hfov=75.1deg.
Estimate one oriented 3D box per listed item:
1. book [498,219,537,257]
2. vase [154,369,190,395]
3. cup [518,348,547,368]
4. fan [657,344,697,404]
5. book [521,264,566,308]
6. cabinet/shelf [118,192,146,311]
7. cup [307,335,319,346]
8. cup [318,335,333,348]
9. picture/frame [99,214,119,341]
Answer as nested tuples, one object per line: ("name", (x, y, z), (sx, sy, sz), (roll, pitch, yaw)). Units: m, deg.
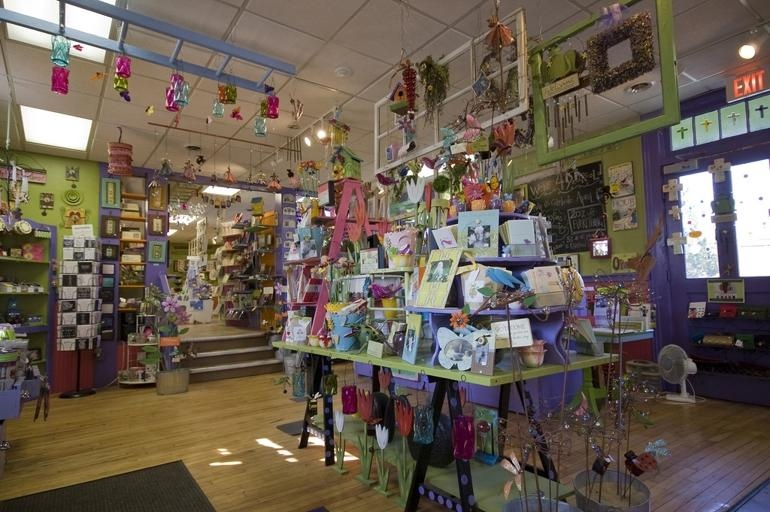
("book", (1.092, -0.147, 4.087), (0.287, 0.293, 0.138), (0, 4, 11))
("vase", (-3.207, 1.874, 7.556), (0.436, 0.317, 0.288), (-2, 4, -8))
("cup", (1.144, 0.777, 3.913), (0.163, 0.133, 0.164), (-5, -8, -1))
("fan", (3.860, 1.509, 6.614), (0.390, 0.775, 0.633), (3, 6, 44))
("book", (1.263, 0.241, 3.971), (0.316, 0.321, 0.088), (0, -14, -20))
("cabinet/shelf", (-4.560, -0.118, 9.068), (0.509, 2.021, 0.896), (-3, 5, -26))
("cup", (-0.709, 0.828, 4.931), (0.101, 0.073, 0.100), (1, -8, 0))
("cup", (-0.575, 0.809, 4.805), (0.117, 0.120, 0.119), (5, 5, 0))
("picture/frame", (-4.725, 0.300, 8.624), (0.327, 2.196, 0.527), (-3, 4, -24))
